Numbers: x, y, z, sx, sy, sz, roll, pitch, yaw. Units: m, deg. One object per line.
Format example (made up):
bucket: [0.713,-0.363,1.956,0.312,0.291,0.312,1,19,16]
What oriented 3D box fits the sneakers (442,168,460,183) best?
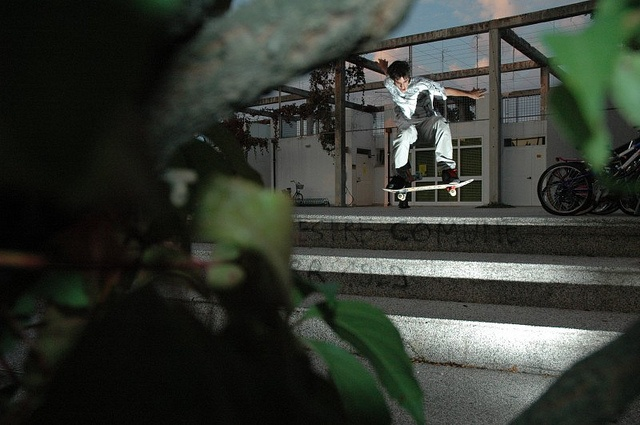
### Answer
sneakers: [1.972,-0.540,7.386,0.289,0.309,0.151,-3,-7,33]
